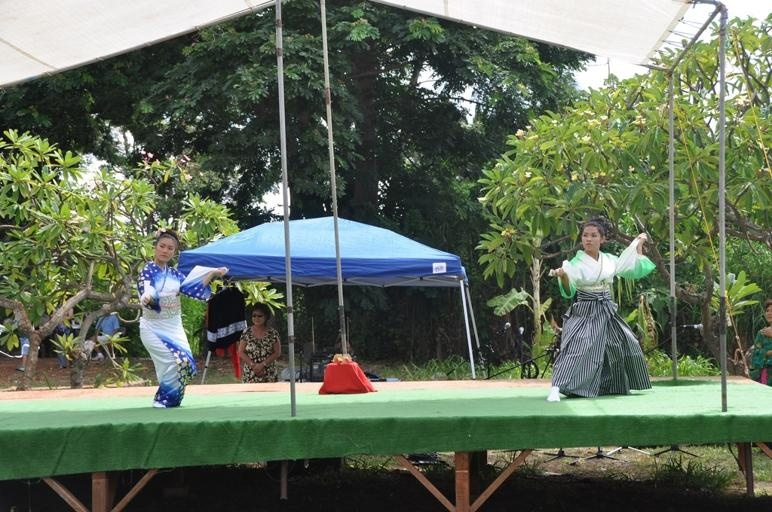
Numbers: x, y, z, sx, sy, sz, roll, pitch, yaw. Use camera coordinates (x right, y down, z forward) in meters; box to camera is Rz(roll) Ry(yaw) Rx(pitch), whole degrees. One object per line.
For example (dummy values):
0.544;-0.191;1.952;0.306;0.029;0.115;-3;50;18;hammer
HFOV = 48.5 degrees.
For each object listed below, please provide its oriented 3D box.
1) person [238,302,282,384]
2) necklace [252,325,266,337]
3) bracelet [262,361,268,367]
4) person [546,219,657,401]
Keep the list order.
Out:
-1.749;1.204;11.841;0.524;1.101;0.387;0;-5;-11;person
-1.739;1.040;11.799;0.168;0.148;0.049;-5;7;-1;necklace
-1.660;1.480;11.748;0.081;0.080;0.022;-1;0;-17;bracelet
2.487;0.608;9.971;1.158;2.038;0.317;-1;-4;-7;person
